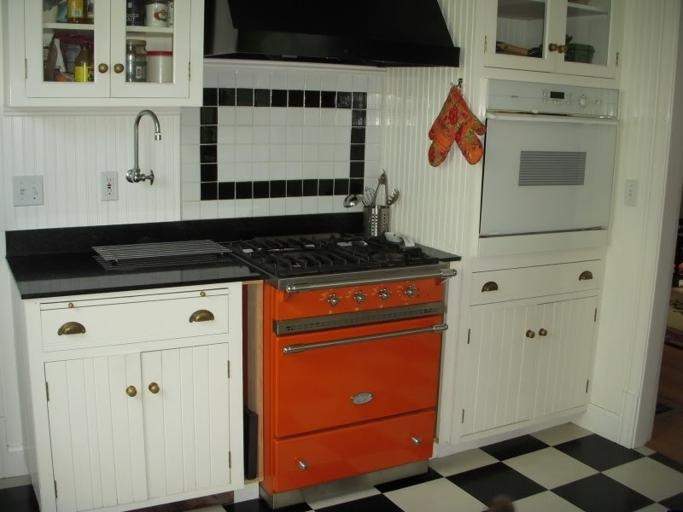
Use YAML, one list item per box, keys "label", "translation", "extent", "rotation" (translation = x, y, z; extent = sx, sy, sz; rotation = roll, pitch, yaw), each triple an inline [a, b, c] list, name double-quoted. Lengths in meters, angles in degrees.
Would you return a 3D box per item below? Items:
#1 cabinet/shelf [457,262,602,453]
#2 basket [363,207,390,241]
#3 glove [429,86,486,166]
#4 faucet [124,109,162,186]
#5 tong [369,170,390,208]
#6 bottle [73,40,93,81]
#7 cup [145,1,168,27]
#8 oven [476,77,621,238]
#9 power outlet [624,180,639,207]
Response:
- label: "cabinet/shelf"
  translation: [0.960, 0.510, 2.983]
  extent: [1.036, 0.897, 0.509]
  rotation: [-4, 9, -27]
- label: "basket"
  translation: [0.187, -0.174, 3.049]
  extent: [0.165, 0.166, 0.157]
  rotation: [4, 15, 10]
- label: "glove"
  translation: [0.558, -0.615, 2.695]
  extent: [0.056, 0.461, 0.401]
  rotation: [-9, 13, -41]
- label: "faucet"
  translation: [-0.896, -0.481, 2.564]
  extent: [0.178, 0.355, 0.340]
  rotation: [-6, 16, -19]
- label: "tong"
  translation: [0.215, -0.374, 3.142]
  extent: [0.093, 0.185, 0.257]
  rotation: [0, 15, 3]
- label: "bottle"
  translation: [-1.045, -0.783, 2.290]
  extent: [0.075, 0.148, 0.029]
  rotation: [-5, 16, -16]
- label: "cup"
  translation: [-0.766, -1.006, 2.377]
  extent: [0.107, 0.103, 0.100]
  rotation: [1, 14, 0]
- label: "oven"
  translation: [0.929, -0.533, 3.059]
  extent: [0.998, 0.839, 0.684]
  rotation: [-4, 9, -27]
- label: "power outlet"
  translation: [1.540, -0.336, 3.027]
  extent: [0.013, 0.143, 0.075]
  rotation: [-12, 19, -36]
